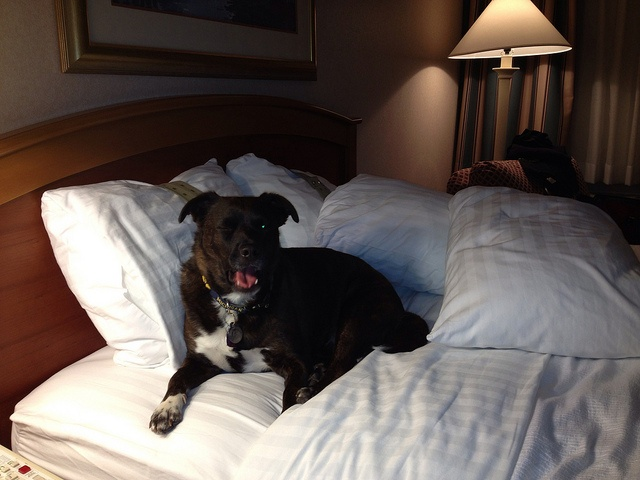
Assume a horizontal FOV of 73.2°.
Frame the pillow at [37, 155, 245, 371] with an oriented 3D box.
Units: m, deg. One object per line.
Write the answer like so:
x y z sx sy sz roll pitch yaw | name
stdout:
-0.636 0.095 1.532 0.500 0.574 0.348 10 23 23 | pillow

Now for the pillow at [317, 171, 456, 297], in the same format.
0.291 -0.069 1.871 0.473 0.141 0.511 -2 36 -19 | pillow

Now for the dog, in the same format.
-0.109 0.158 1.565 1.052 0.674 0.851 -6 6 -34 | dog
